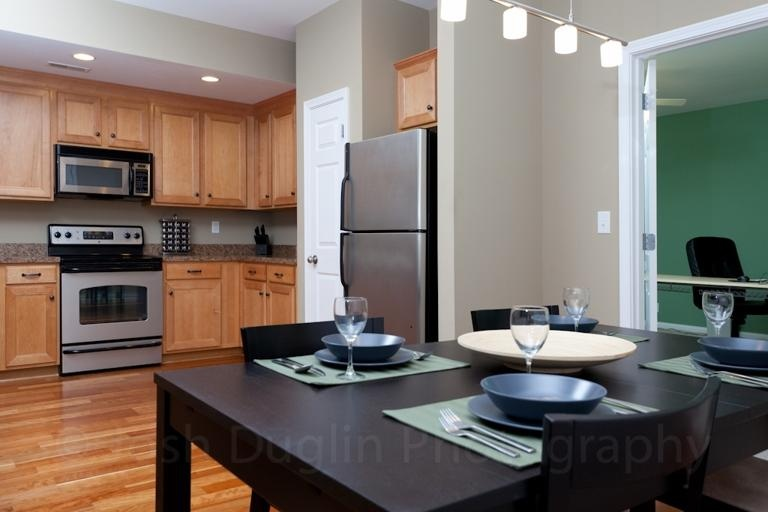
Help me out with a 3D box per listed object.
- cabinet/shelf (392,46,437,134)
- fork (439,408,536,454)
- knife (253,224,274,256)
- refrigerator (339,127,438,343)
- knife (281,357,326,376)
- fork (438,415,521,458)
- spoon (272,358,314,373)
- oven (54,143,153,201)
[{"bbox_3d":[0.226,-1.171,3.828,0.113,0.524,0.423,-11,16,-39],"label":"cabinet/shelf"},{"bbox_3d":[0.236,0.431,1.316,0.070,0.033,0.239,-6,10,-42],"label":"fork"},{"bbox_3d":[-1.341,-0.169,6.018,0.193,0.330,0.362,-4,12,-12],"label":"knife"},{"bbox_3d":[0.073,-0.172,3.817,0.404,1.395,0.820,-12,17,-41],"label":"refrigerator"},{"bbox_3d":[-0.266,0.348,1.765,0.052,0.033,0.194,1,-1,-38],"label":"knife"},{"bbox_3d":[0.222,0.409,1.305,0.055,0.034,0.238,-2,12,-38],"label":"fork"},{"bbox_3d":[-0.295,0.345,1.789,0.045,0.028,0.151,-2,4,-37],"label":"spoon"},{"bbox_3d":[-2.677,-0.784,5.120,0.849,0.442,0.399,-3,11,-44],"label":"oven"}]
